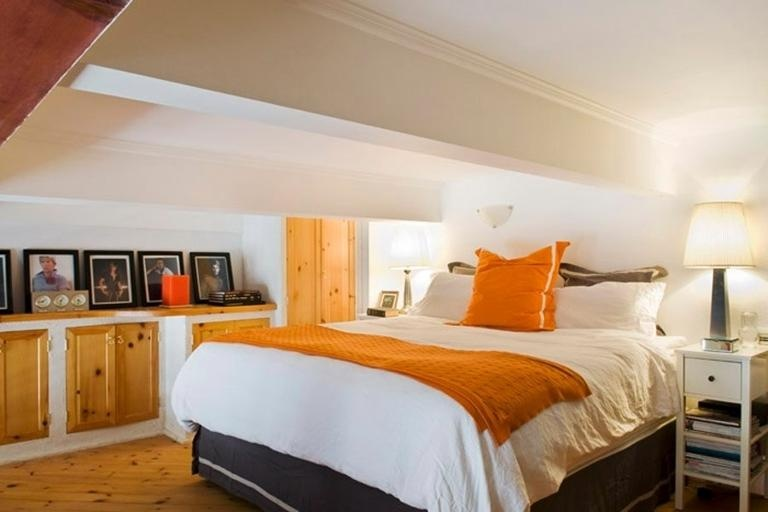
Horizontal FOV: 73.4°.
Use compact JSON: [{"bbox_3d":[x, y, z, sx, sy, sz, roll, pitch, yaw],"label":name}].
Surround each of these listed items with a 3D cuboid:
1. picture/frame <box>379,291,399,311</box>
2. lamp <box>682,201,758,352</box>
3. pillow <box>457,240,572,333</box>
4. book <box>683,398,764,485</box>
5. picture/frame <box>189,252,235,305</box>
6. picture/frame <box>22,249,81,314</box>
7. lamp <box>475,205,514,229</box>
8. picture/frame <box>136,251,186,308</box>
[{"bbox_3d":[0.052,0.492,5.570,0.183,0.155,0.019,-4,-27,45],"label":"picture/frame"},{"bbox_3d":[2.261,0.120,3.462,0.412,0.966,0.436,2,4,28],"label":"lamp"},{"bbox_3d":[1.071,0.263,4.109,0.609,0.534,0.307,-5,-22,37],"label":"pillow"},{"bbox_3d":[2.229,1.193,3.403,0.382,0.179,0.550,-2,1,43],"label":"book"},{"bbox_3d":[-1.679,0.224,4.962,0.509,0.581,0.041,-1,-14,-43],"label":"picture/frame"},{"bbox_3d":[-2.724,0.218,4.184,0.499,0.665,0.053,4,-15,-42],"label":"picture/frame"},{"bbox_3d":[1.065,-0.377,4.946,0.071,0.235,0.403,-2,4,-37],"label":"lamp"},{"bbox_3d":[-2.033,0.223,4.639,0.497,0.560,0.041,4,-15,-43],"label":"picture/frame"}]
